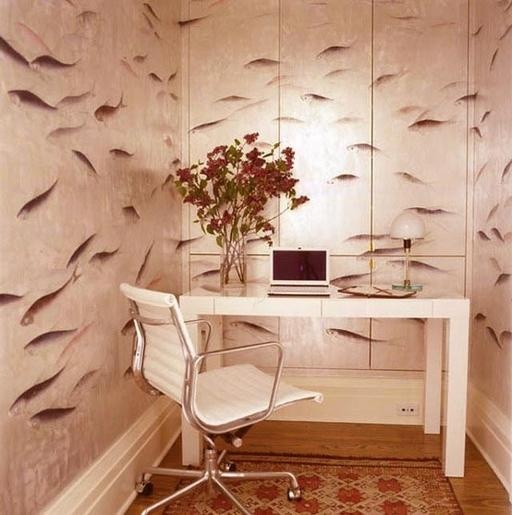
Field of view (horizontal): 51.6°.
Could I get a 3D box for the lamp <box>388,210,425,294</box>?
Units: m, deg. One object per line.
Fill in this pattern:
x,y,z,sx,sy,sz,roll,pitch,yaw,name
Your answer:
0.841,-0.037,2.949,0.178,0.440,0.593,2,7,16,lamp

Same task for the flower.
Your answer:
-0.105,-0.315,3.461,0.867,1.158,0.979,4,0,-14,flower

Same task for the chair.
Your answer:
-0.120,0.454,2.623,0.979,1.219,0.922,-3,4,-21,chair

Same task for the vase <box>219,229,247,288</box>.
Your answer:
-0.128,0.007,3.083,0.137,0.275,0.391,0,7,0,vase

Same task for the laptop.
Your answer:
0.236,0.064,2.810,0.350,0.232,0.234,0,0,3,laptop
